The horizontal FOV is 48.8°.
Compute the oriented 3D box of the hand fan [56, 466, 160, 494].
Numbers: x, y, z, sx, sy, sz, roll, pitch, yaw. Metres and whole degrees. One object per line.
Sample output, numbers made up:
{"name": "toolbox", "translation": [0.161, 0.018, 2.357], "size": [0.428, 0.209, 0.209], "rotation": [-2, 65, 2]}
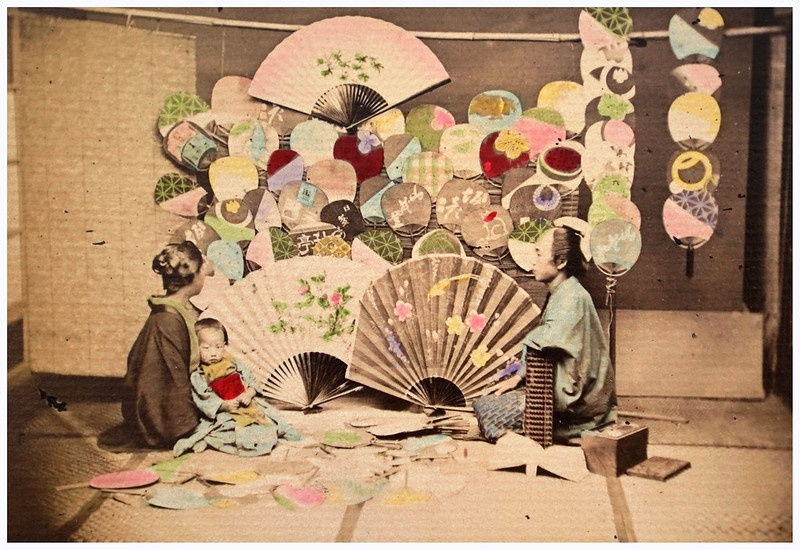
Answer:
{"name": "hand fan", "translation": [-2.030, 1.400, 6.042], "size": [0.809, 0.194, 0.028], "rotation": [-4, -43, 7]}

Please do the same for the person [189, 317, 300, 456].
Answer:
{"name": "person", "translation": [-1.172, 0.790, 6.129], "size": [0.732, 0.813, 0.683], "rotation": [4, 13, 22]}

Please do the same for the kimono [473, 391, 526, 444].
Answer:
{"name": "kimono", "translation": [0.667, 0.952, 6.021], "size": [0.338, 0.349, 0.246], "rotation": [3, 5, 3]}

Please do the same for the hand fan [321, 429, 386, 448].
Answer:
{"name": "hand fan", "translation": [-0.362, 1.131, 6.102], "size": [0.297, 0.126, 0.011], "rotation": [-1, -42, -5]}

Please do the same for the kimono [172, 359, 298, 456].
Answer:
{"name": "kimono", "translation": [-1.113, 0.920, 6.105], "size": [0.831, 0.669, 0.186], "rotation": [3, 5, 5]}

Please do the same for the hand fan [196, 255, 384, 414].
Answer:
{"name": "hand fan", "translation": [-0.710, 0.428, 6.203], "size": [1.863, 1.046, 0.122], "rotation": [-4, -4, 27]}

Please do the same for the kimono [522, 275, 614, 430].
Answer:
{"name": "kimono", "translation": [1.164, 0.542, 5.973], "size": [0.644, 1.050, 0.280], "rotation": [4, 5, 8]}

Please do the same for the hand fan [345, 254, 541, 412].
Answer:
{"name": "hand fan", "translation": [0.359, 0.411, 6.142], "size": [1.261, 0.818, 0.062], "rotation": [-8, 9, 5]}

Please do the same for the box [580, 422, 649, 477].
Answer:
{"name": "box", "translation": [1.388, 1.144, 6.050], "size": [0.527, 0.297, 0.313], "rotation": [-5, 10, -29]}

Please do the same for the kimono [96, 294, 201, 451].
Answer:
{"name": "kimono", "translation": [-1.667, 0.705, 6.815], "size": [1.010, 1.280, 1.233], "rotation": [5, -4, -11]}
